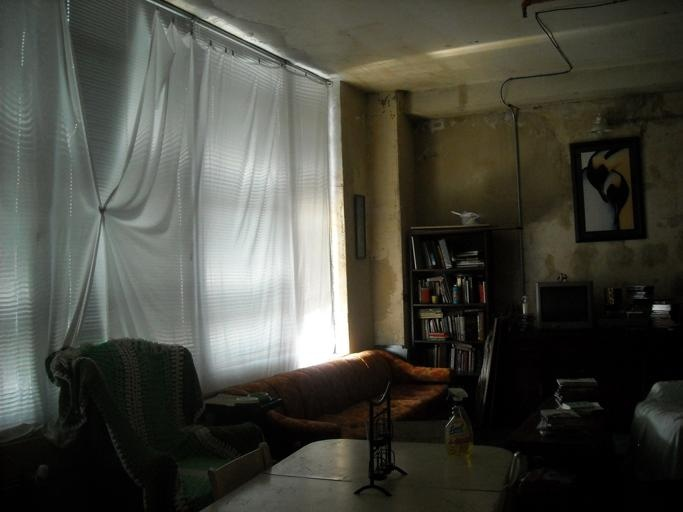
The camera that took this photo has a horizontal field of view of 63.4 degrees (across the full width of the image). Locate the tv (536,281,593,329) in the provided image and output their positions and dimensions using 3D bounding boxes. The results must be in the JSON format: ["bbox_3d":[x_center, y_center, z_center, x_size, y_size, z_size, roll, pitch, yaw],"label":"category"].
[{"bbox_3d":[2.440,0.521,6.058,0.495,0.448,0.506,-2,-4,22],"label":"tv"}]

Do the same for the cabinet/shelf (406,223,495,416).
[{"bbox_3d":[1.235,0.606,6.385,0.866,2.033,0.518,-2,23,7],"label":"cabinet/shelf"}]
